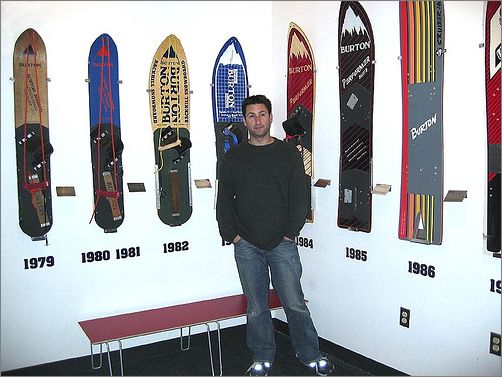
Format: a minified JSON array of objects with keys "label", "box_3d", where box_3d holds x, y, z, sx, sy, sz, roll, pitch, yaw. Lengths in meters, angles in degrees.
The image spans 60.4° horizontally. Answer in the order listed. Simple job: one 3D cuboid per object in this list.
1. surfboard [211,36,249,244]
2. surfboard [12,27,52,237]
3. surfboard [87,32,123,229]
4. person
[{"label":"surfboard","box_3d":[-0.185,-0.522,3.860,0.244,1.537,0.149,-7,10,-35]},{"label":"surfboard","box_3d":[-1.711,-0.416,3.358,0.221,1.650,0.229,-5,6,-37]},{"label":"surfboard","box_3d":[-1.179,-0.449,3.470,0.294,1.482,0.175,-5,8,-34]},{"label":"person","box_3d":[0.137,0.377,3.229,0.783,2.143,0.208,-3,2,11]}]
